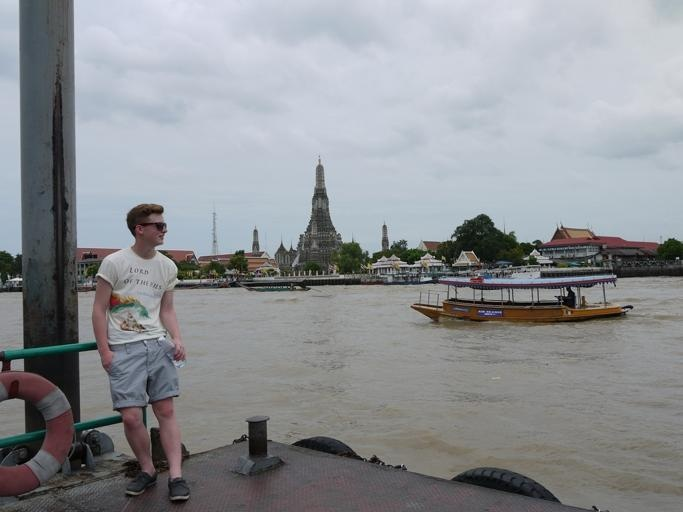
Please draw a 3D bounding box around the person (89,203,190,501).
[{"bbox_3d":[-1.670,0.748,5.874,0.714,2.350,0.605,-2,-2,-12],"label":"person"}]

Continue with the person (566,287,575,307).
[{"bbox_3d":[9.435,1.676,29.080,0.319,0.604,1.155,-3,-2,17],"label":"person"}]

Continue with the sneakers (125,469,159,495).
[{"bbox_3d":[-1.614,1.831,5.775,0.128,0.165,0.282,-4,-2,36],"label":"sneakers"}]

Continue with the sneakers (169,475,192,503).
[{"bbox_3d":[-1.285,1.848,5.619,0.136,0.122,0.325,0,-9,-13],"label":"sneakers"}]
